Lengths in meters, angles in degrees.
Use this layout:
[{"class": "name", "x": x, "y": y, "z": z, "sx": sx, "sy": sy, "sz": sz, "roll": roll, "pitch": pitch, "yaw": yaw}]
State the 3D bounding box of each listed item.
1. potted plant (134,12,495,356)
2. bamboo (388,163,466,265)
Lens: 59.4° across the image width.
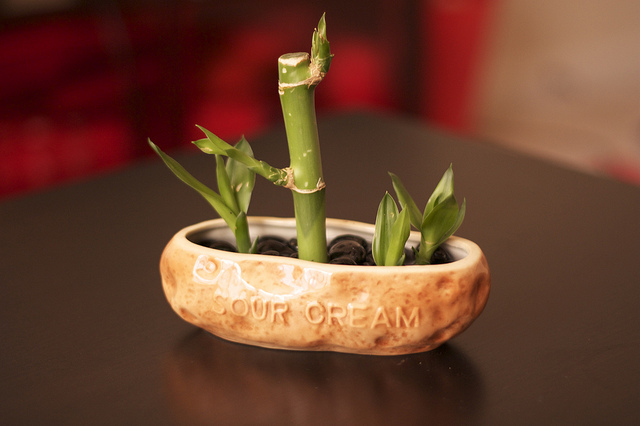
[{"class": "potted plant", "x": -0.010, "y": -0.013, "z": 0.624, "sx": 0.326, "sy": 0.347, "sz": 0.176, "roll": 5, "pitch": 23, "yaw": 7}, {"class": "bamboo", "x": 0.129, "y": 0.003, "z": 0.655, "sx": 0.077, "sy": 0.108, "sz": 0.110, "roll": 16, "pitch": 69, "yaw": -8}]
